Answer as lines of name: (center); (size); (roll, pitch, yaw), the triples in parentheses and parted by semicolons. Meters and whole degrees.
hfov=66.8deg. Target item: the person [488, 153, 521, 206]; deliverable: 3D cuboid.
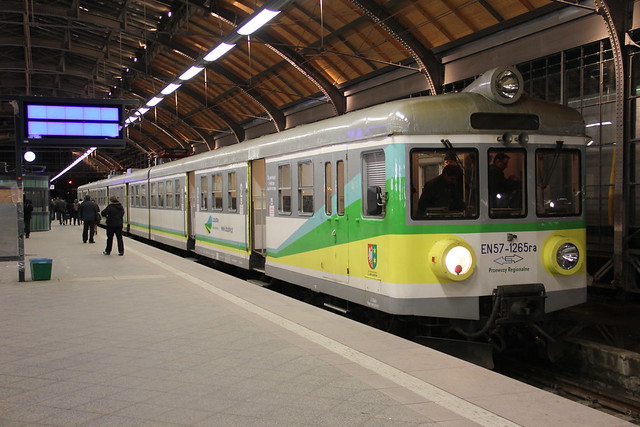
person: (3.013, -0.541, 8.072); (0.615, 0.886, 0.633); (-2, 3, -18)

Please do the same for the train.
train: (-1.352, -0.617, 12.967); (3.313, 4.293, 15.035); (-4, 6, -39)

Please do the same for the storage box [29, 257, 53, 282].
storage box: (-7.122, 1.382, 12.437); (0.543, 0.546, 0.663); (-2, 2, -17)

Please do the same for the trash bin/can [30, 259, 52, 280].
trash bin/can: (-7.024, 1.378, 12.461); (0.492, 0.503, 0.610); (-2, 1, 2)
